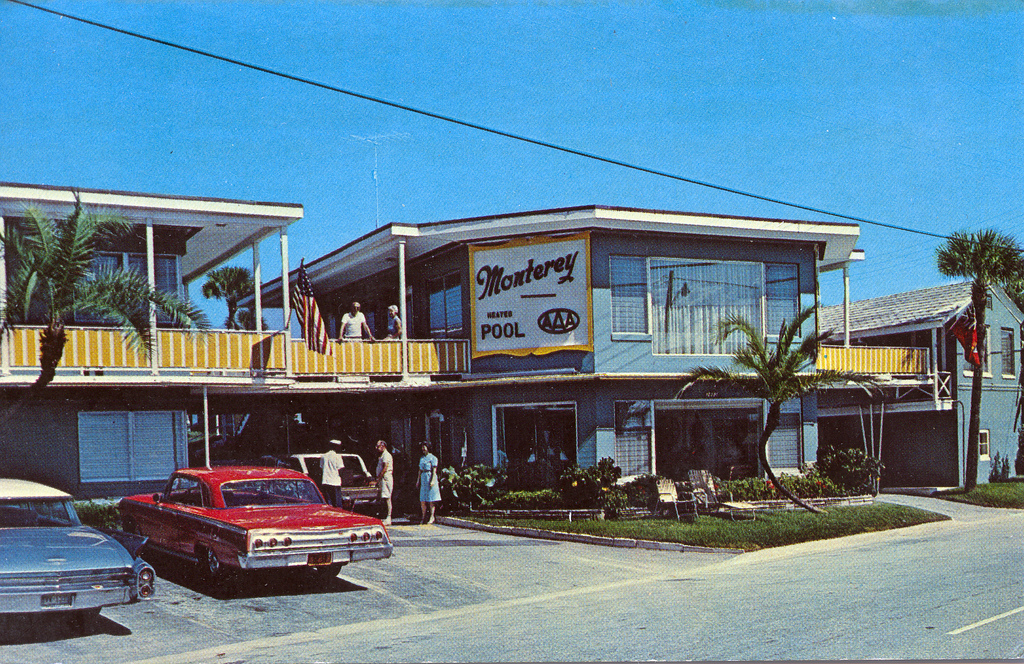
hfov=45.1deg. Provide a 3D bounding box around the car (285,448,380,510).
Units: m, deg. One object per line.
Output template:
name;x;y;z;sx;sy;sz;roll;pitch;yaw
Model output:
car;-5.075;4.198;35.103;1.411;1.212;2.577;0;2;-32

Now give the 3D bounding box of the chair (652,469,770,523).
chair;5.369;4.626;35.170;2.984;1.316;2.353;1;-9;-12

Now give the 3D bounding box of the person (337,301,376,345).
person;-4.705;-0.267;36.828;0.853;1.289;1.322;0;-9;-8

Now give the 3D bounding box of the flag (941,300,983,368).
flag;15.193;0.103;41.325;0.970;2.360;2.119;-1;-9;1
